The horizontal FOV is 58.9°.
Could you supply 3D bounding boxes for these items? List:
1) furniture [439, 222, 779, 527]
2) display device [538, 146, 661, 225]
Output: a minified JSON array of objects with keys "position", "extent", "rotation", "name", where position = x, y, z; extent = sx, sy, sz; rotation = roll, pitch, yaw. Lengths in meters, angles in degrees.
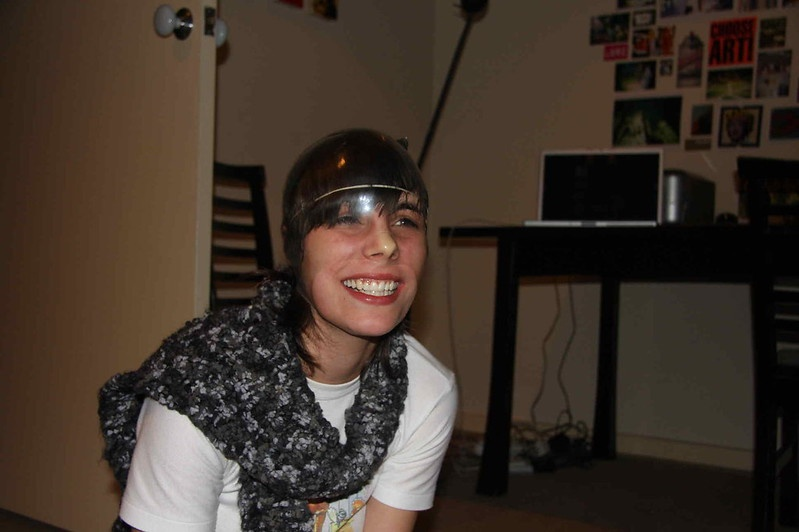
[{"position":[0.974,0.357,2.787],"extent":[1.238,1.230,0.798],"rotation":[3,2,26],"name":"furniture"},{"position":[0.670,-0.275,2.376],"extent":[0.387,0.199,0.039],"rotation":[3,-1,13],"name":"display device"}]
